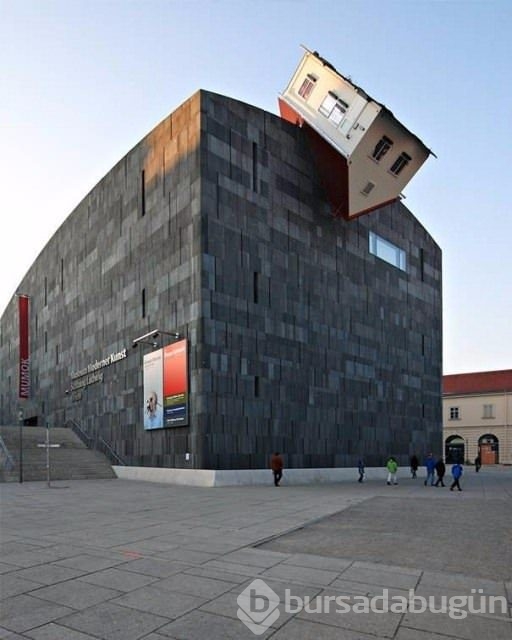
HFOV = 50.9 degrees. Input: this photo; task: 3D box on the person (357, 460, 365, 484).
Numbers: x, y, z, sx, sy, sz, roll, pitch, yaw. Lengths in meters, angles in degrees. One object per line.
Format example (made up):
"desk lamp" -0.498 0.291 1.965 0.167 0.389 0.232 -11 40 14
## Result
"person" 6.004 8.750 30.947 0.301 1.132 2.802 -1 -12 10
